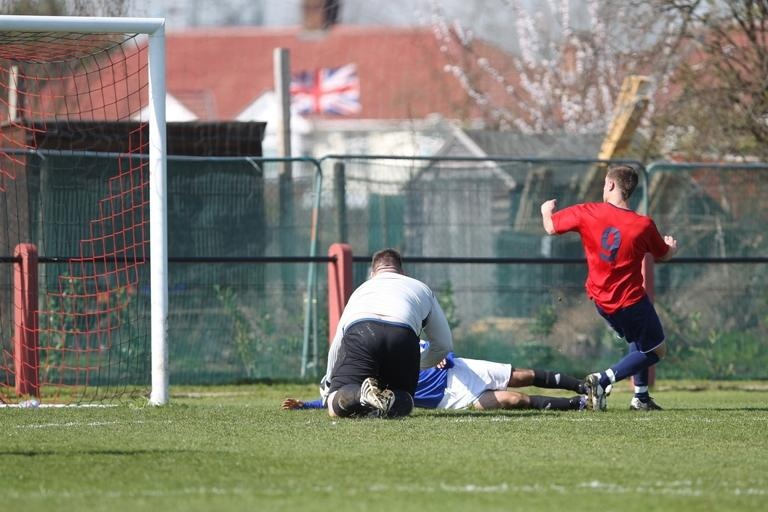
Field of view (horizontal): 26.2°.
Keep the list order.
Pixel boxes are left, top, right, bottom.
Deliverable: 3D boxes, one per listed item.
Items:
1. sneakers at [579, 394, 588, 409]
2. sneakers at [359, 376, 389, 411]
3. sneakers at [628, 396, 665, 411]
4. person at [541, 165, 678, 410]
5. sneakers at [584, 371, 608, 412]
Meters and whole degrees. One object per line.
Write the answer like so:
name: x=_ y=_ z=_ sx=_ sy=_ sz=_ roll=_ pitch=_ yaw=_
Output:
sneakers: x=2.438 y=1.804 z=20.205 sx=0.158 sy=0.193 sz=0.447 roll=-1 pitch=-3 yaw=6
sneakers: x=-0.090 y=1.690 z=19.625 sx=0.226 sy=0.469 sz=0.221 roll=-44 pitch=-37 yaw=9
sneakers: x=3.266 y=1.853 z=20.553 sx=0.435 sy=0.189 sz=0.159 roll=1 pitch=0 yaw=-13
person: x=2.850 y=0.417 z=20.312 sx=1.456 sy=3.001 sz=0.642 roll=-1 pitch=-3 yaw=6
sneakers: x=2.588 y=1.689 z=20.176 sx=0.245 sy=0.532 sz=0.189 roll=-9 pitch=5 yaw=1
